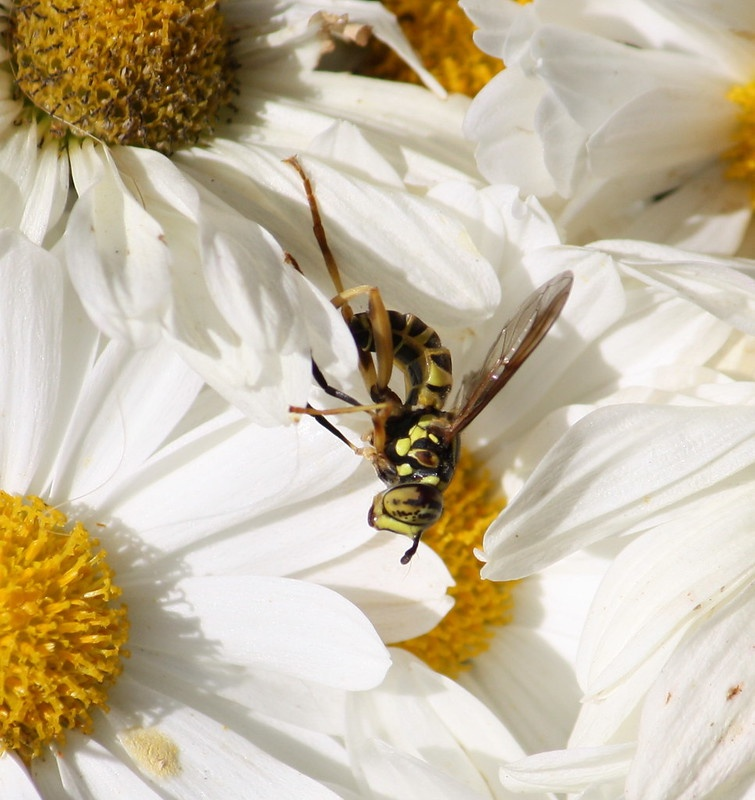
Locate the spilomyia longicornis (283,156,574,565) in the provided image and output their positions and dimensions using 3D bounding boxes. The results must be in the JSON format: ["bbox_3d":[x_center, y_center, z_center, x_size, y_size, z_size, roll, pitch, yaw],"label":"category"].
[{"bbox_3d":[0.109,-0.015,0.861,0.110,0.308,0.333,8,-8,-39],"label":"spilomyia longicornis"}]
